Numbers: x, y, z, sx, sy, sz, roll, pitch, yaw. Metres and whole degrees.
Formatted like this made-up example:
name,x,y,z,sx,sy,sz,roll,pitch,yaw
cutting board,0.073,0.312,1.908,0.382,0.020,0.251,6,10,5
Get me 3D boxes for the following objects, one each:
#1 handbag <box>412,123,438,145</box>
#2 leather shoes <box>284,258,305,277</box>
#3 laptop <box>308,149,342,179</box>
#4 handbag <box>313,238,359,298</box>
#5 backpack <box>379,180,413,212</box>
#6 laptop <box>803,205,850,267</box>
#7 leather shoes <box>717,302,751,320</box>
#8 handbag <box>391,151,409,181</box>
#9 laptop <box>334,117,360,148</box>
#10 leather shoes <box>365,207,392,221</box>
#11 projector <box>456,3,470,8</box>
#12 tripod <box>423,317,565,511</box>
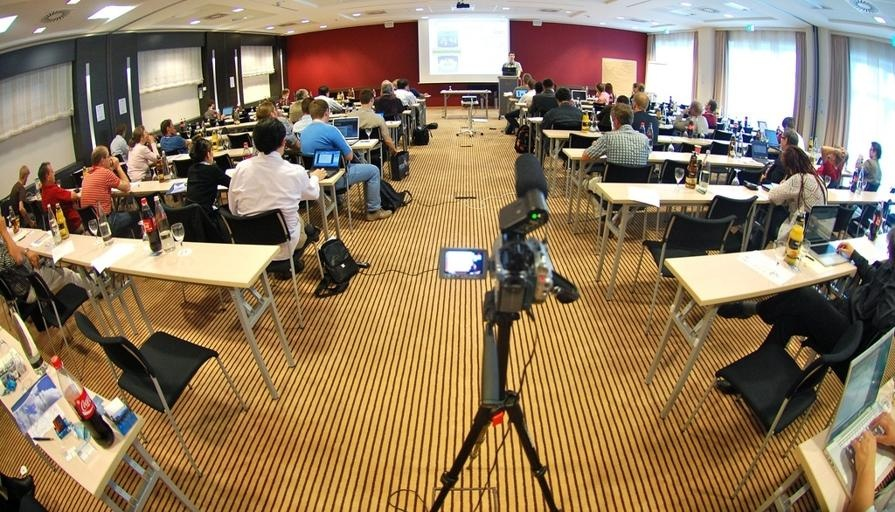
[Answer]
name,x,y,z,sx,sy,sz,roll,pitch,yaw
handbag,-0.654,-2.969,14.181,0.457,0.355,0.850,-2,21,-3
leather shoes,-2.065,0.159,7.686,0.218,0.100,0.212,-12,-11,-30
laptop,-1.727,-1.337,8.242,0.390,0.271,0.405,2,22,1
handbag,-1.546,0.170,7.938,0.627,0.723,0.217,-18,7,-41
backpack,-0.931,-0.981,9.948,0.577,0.616,0.400,-11,57,-1
laptop,4.601,-0.248,7.066,0.522,0.392,0.402,-11,39,-19
leather shoes,3.234,0.611,6.540,0.252,0.133,0.256,-4,-11,2
handbag,-0.920,-1.678,10.759,0.170,0.425,0.436,7,27,15
laptop,-1.736,-2.162,10.019,0.563,0.447,0.555,1,11,-2
leather shoes,-1.183,-0.706,9.606,0.407,0.193,0.183,-5,16,-9
projector,0.432,-7.182,16.543,0.305,0.083,0.300,-1,5,-7
tripod,0.496,1.789,6.216,1.416,2.523,1.340,0,37,-7
